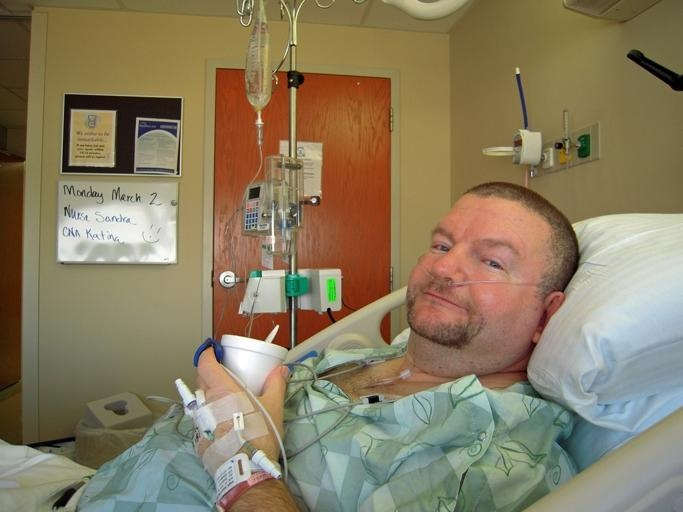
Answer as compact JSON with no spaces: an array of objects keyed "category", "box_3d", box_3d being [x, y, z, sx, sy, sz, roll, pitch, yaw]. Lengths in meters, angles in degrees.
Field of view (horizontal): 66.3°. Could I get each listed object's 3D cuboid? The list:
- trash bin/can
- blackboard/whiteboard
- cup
[{"category":"trash bin/can","box_3d":[-1.232,0.888,2.704,0.299,0.181,0.405,12,-6,-32]},{"category":"blackboard/whiteboard","box_3d":[-1.374,-0.201,3.090,0.473,0.361,0.067,1,-2,-2]},{"category":"cup","box_3d":[-0.243,0.296,1.517,0.152,0.128,0.167,19,-23,9]}]
